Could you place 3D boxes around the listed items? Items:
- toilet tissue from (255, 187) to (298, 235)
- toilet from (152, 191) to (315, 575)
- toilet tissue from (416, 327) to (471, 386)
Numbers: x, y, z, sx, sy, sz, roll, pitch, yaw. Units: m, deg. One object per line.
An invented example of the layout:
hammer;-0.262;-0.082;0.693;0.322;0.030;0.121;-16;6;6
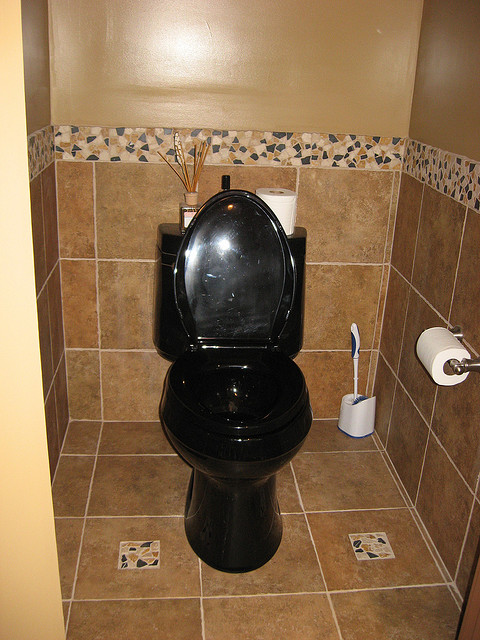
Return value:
toilet tissue;0.130;-0.354;1.669;0.103;0.154;0.146;2;40;4
toilet;-0.009;0.166;1.508;0.317;0.968;0.618;-1;23;-8
toilet tissue;0.521;0.083;1.274;0.098;0.182;0.121;3;-15;-14
